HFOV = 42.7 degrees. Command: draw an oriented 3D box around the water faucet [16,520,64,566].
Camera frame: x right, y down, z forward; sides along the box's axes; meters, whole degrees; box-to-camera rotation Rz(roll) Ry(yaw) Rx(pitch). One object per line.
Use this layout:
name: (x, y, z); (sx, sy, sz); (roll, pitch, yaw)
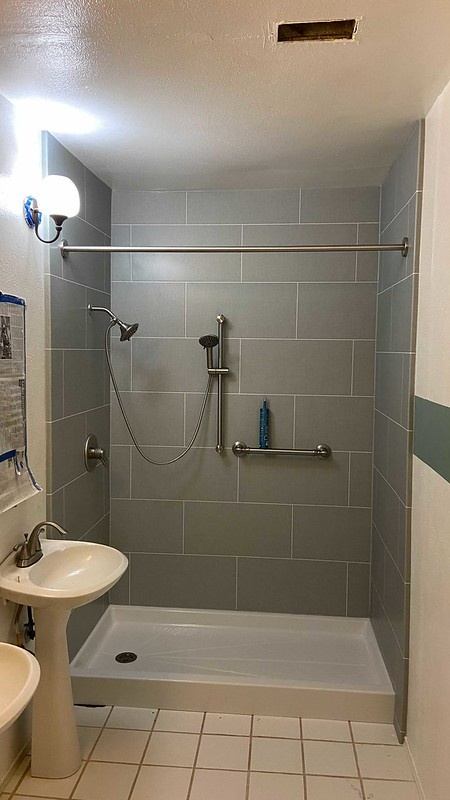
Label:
water faucet: (-0.583, 0.478, 1.928); (0.077, 0.174, 0.283); (-1, -7, 7)

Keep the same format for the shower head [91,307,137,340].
shower head: (-0.523, -0.352, 2.680); (0.187, 0.218, 0.112); (-7, 18, 5)

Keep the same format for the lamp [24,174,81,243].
lamp: (-0.575, -0.622, 1.911); (0.121, 0.215, 0.119); (-7, 3, -11)

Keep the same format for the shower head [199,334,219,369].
shower head: (-0.079, -0.230, 2.666); (0.113, 0.193, 0.121); (-3, 6, -30)
